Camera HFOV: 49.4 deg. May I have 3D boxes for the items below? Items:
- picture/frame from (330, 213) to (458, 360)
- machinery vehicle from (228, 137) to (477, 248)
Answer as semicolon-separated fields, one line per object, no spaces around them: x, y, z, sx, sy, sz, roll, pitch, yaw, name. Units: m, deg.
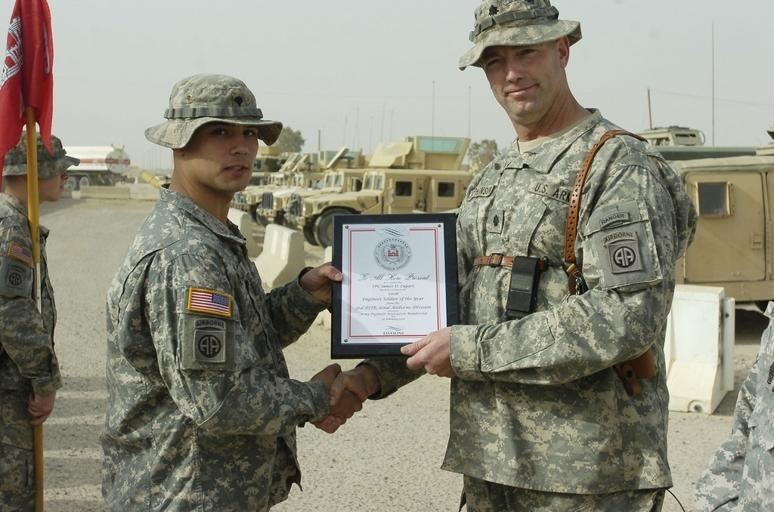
0.054;0.187;4.647;0.741;0.923;0.069;-1;-14;3;picture/frame
-0.034;-1.634;19.144;3.598;2.150;2.644;0;3;-27;machinery vehicle
